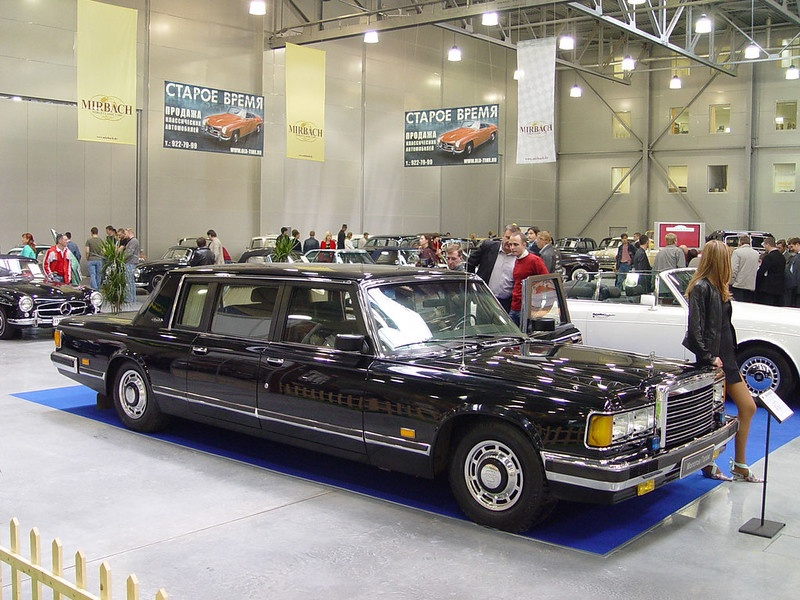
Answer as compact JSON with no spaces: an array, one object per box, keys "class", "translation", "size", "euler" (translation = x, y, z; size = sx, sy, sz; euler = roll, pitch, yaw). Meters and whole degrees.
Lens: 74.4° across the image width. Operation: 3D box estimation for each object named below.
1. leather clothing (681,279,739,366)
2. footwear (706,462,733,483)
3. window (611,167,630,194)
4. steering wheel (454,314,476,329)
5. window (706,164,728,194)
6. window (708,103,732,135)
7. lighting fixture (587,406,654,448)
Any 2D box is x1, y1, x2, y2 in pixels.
[{"class":"leather clothing","translation":[2.869,0.185,4.835],"size":[0.697,0.729,0.456],"euler":[-11,17,-39]},{"class":"footwear","translation":[3.129,1.662,5.119],"size":[0.348,0.142,0.118],"euler":[0,0,31]},{"class":"window","translation":[15.267,-8.232,36.396],"size":[1.732,1.578,1.679],"euler":[-2,6,-42]},{"class":"steering wheel","translation":[0.614,0.206,4.953],"size":[0.147,0.038,0.158],"euler":[-11,12,2]},{"class":"window","translation":[19.926,-7.598,33.024],"size":[0.959,1.632,0.379],"euler":[1,1,35]},{"class":"window","translation":[19.976,-11.294,32.871],"size":[1.151,1.750,0.440],"euler":[1,1,30]},{"class":"lighting fixture","translation":[1.548,0.868,3.670],"size":[0.689,0.220,0.102],"euler":[0,1,-35]}]
